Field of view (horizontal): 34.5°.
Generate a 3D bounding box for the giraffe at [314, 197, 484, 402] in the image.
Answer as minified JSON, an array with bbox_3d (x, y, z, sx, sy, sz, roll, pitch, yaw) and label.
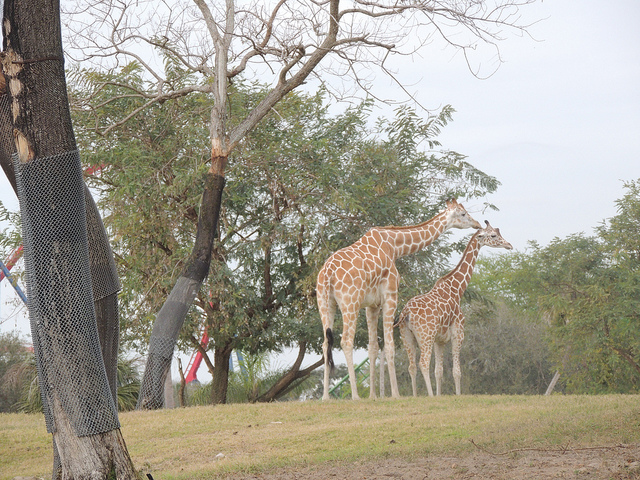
[{"bbox_3d":[1.183,1.660,25.331,4.749,4.837,4.119,6,-15,-36],"label":"giraffe"}]
